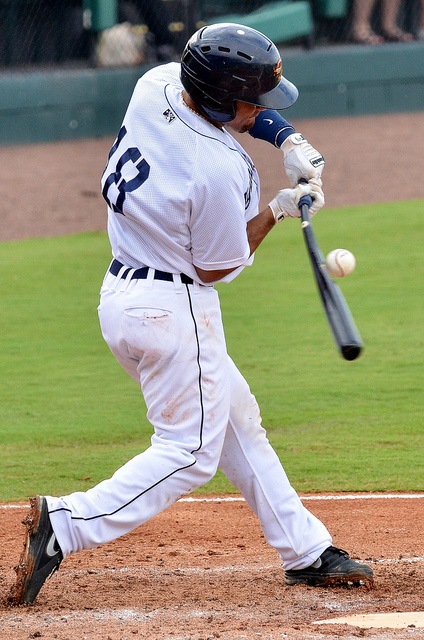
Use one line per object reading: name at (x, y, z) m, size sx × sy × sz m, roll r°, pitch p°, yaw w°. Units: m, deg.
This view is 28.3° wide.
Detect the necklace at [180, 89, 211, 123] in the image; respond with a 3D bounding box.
necklace at (-0.055, -0.581, 2.270) m, size 0.075 × 0.019 × 0.055 m, roll 37°, pitch 4°, yaw -2°

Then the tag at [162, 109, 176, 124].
tag at (-0.116, -0.545, 2.237) m, size 0.013 × 0.040 × 0.037 m, roll 9°, pitch 50°, yaw -54°

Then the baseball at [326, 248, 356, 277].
baseball at (0.411, -0.183, 2.740) m, size 0.108 × 0.092 × 0.094 m, roll 4°, pitch 31°, yaw -2°

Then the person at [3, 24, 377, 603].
person at (0.002, 0.152, 2.593) m, size 0.968 × 1.995 × 1.317 m, roll 1°, pitch 29°, yaw 9°

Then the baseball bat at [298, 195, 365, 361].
baseball bat at (0.316, -0.146, 2.425) m, size 0.111 × 0.098 × 0.668 m, roll -19°, pitch 42°, yaw -3°
